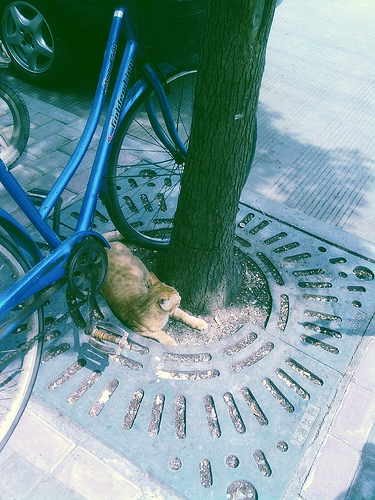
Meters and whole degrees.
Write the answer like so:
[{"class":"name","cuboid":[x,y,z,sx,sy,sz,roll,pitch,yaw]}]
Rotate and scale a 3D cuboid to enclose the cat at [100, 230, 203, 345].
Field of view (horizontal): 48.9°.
[{"class":"cat","cuboid":[-0.277,0.170,2.300,0.373,0.291,0.858,-17,38,-34]}]
